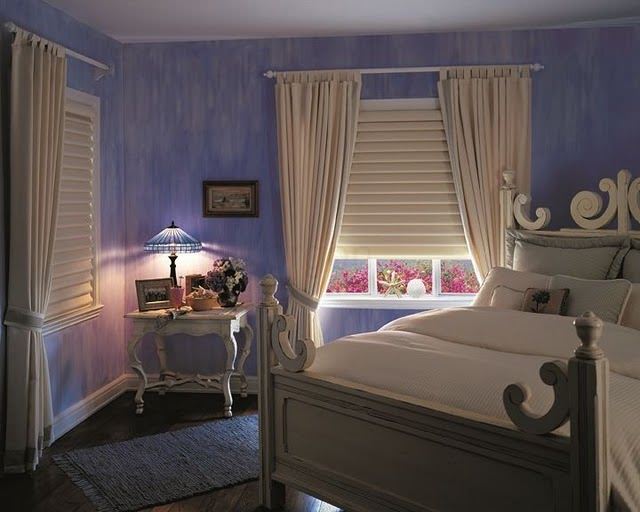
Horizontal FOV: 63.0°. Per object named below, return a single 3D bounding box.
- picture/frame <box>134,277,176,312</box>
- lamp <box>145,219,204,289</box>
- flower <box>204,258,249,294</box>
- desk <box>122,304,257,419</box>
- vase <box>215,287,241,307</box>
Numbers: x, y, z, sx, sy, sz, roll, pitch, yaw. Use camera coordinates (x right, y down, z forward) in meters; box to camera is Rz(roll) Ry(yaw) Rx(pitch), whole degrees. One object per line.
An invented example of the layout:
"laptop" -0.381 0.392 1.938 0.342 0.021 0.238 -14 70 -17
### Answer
"picture/frame" -1.289 0.307 4.119 0.249 0.225 0.026 4 -11 -43
"lamp" -1.223 0.010 4.341 0.446 0.565 0.469 1 2 26
"flower" -0.736 0.142 4.155 0.280 0.275 0.255 0 2 30
"desk" -1.016 0.779 4.201 0.932 0.804 0.769 -1 7 -4
"vase" -0.733 0.325 4.221 0.129 0.166 0.163 0 1 13
